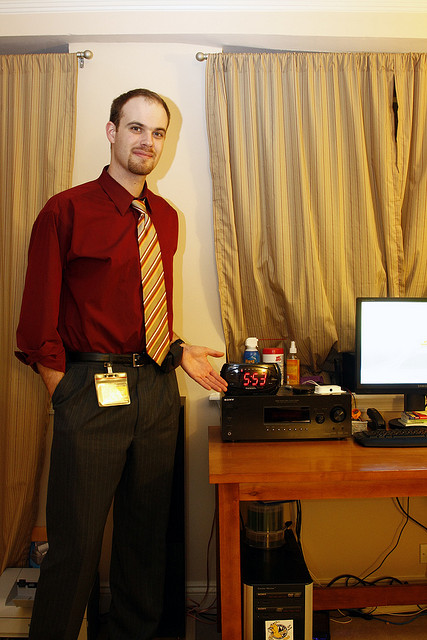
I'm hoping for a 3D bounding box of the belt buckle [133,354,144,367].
[{"bbox_3d":[-0.213,0.117,1.535,0.006,0.036,0.041,0,0,36],"label":"belt buckle"}]

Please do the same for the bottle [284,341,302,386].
[{"bbox_3d":[0.301,0.162,2.030,0.067,0.152,0.185,1,0,8],"label":"bottle"}]

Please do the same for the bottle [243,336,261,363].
[{"bbox_3d":[0.144,0.113,2.003,0.058,0.091,0.115,1,0,3],"label":"bottle"}]

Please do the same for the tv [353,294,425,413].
[{"bbox_3d":[0.602,0.105,1.847,0.382,0.424,0.140,1,-8,0],"label":"tv"}]
